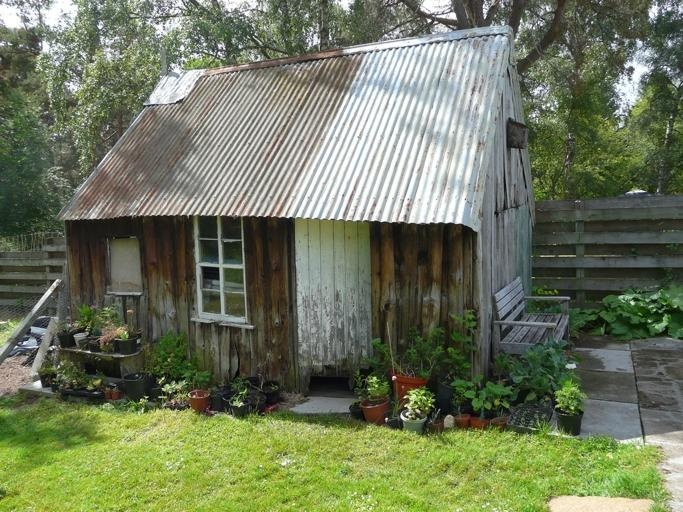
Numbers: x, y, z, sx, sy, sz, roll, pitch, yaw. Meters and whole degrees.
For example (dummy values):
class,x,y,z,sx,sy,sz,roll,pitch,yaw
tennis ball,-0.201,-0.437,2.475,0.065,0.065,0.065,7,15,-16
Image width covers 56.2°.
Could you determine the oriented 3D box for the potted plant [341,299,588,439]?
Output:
class,x,y,z,sx,sy,sz,roll,pitch,yaw
potted plant,2.047,1.765,10.196,3.085,1.732,1.448,0,-7,9
